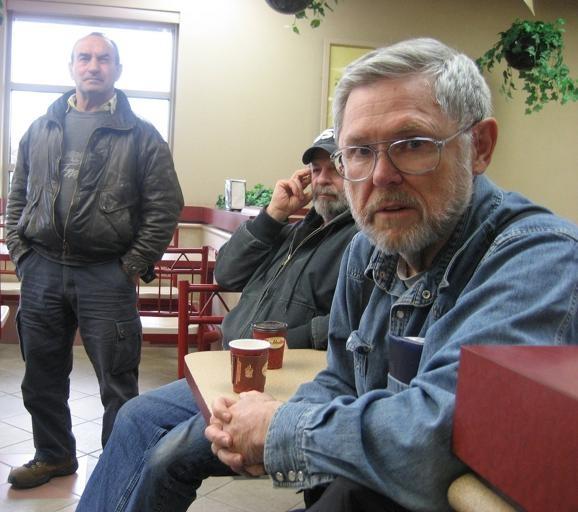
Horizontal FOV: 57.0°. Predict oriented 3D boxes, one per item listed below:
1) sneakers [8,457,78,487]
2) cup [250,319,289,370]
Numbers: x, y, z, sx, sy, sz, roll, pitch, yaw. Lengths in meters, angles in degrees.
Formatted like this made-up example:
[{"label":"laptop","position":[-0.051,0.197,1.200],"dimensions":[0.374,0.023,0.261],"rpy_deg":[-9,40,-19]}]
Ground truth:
[{"label":"sneakers","position":[-1.044,0.919,2.296],"dimensions":[0.273,0.119,0.097],"rpy_deg":[9,8,-43]},{"label":"cup","position":[-0.042,0.224,1.400],"dimensions":[0.099,0.114,0.104],"rpy_deg":[1,9,0]}]
